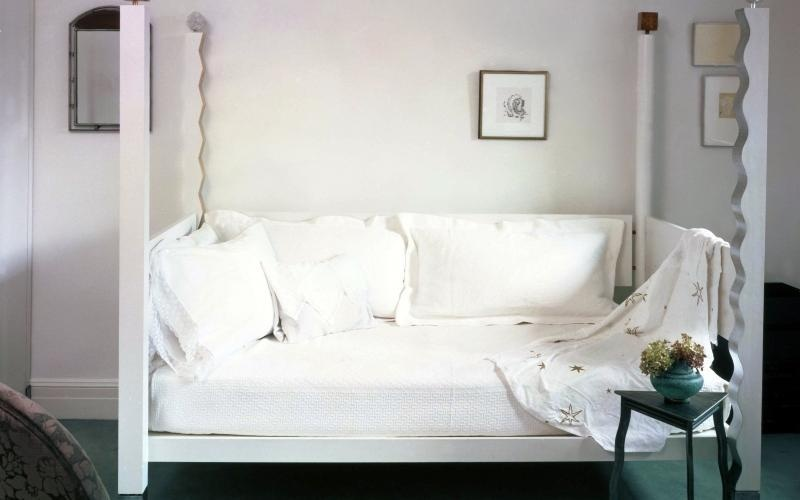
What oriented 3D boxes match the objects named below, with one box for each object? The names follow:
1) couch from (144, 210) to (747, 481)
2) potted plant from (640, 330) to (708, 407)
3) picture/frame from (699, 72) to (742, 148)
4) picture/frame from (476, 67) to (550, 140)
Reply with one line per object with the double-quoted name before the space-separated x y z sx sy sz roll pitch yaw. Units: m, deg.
"couch" 0.194 0.483 3.176 2.791 1.068 0.676 -2 10 1
"potted plant" 1.218 0.513 2.767 0.273 0.304 0.302 -2 -4 17
"picture/frame" 1.982 -0.853 3.860 0.224 0.446 0.075 -1 11 3
"picture/frame" 0.682 -0.911 3.822 0.438 0.404 0.029 1 2 -6
